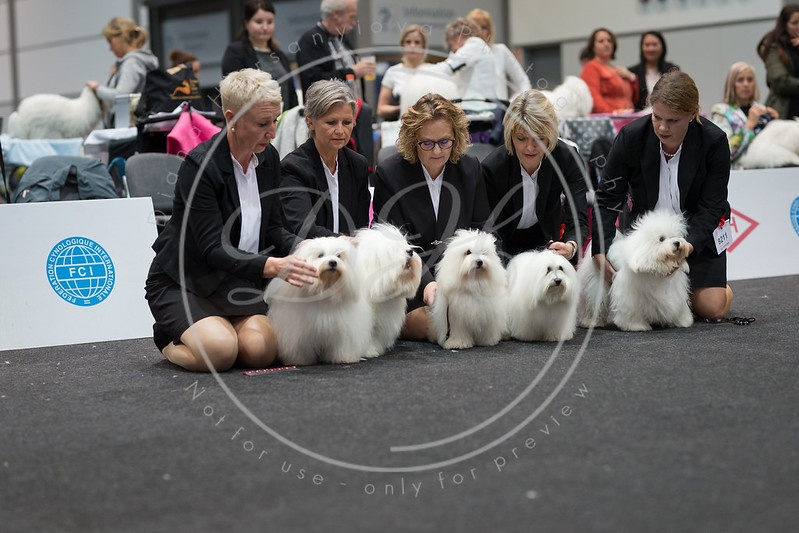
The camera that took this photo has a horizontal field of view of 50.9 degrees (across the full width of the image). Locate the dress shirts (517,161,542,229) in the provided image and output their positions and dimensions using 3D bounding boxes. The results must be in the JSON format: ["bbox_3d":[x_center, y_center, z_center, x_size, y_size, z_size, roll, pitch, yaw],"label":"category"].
[{"bbox_3d":[0.873,-0.435,5.684,0.199,0.322,0.100,-1,14,0],"label":"dress shirts"}]

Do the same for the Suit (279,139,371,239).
[{"bbox_3d":[-0.453,-0.429,5.516,0.575,0.834,0.545,-5,0,-31],"label":"Suit"}]

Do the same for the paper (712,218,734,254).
[{"bbox_3d":[2.243,-0.213,5.820,0.178,0.210,0.023,-32,22,-14],"label":"paper"}]

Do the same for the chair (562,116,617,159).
[{"bbox_3d":[1.792,-1.275,8.179,0.586,0.342,0.568,-8,8,-42],"label":"chair"}]

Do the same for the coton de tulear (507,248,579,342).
[{"bbox_3d":[0.889,0.199,5.250,0.309,0.446,0.657,-1,6,-2],"label":"coton de tulear"}]

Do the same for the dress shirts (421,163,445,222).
[{"bbox_3d":[0.229,-0.499,5.594,0.095,0.414,0.067,-1,7,3],"label":"dress shirts"}]

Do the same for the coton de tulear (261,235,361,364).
[{"bbox_3d":[-0.513,0.150,5.283,0.562,0.907,1.063,2,6,-12],"label":"coton de tulear"}]

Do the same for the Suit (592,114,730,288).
[{"bbox_3d":[1.873,-0.499,6.075,0.961,1.594,0.843,-6,36,8],"label":"Suit"}]

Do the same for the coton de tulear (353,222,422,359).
[{"bbox_3d":[-0.064,0.127,5.444,0.541,0.883,1.040,4,3,-11],"label":"coton de tulear"}]

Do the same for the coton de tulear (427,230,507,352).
[{"bbox_3d":[0.438,0.126,5.422,0.496,0.792,0.743,-2,8,3],"label":"coton de tulear"}]

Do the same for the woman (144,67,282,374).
[{"bbox_3d":[-1.072,-0.270,4.975,0.871,1.760,0.516,-3,8,-9],"label":"woman"}]

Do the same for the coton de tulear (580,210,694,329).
[{"bbox_3d":[1.633,0.012,5.757,0.500,0.836,0.850,-5,10,-24],"label":"coton de tulear"}]
